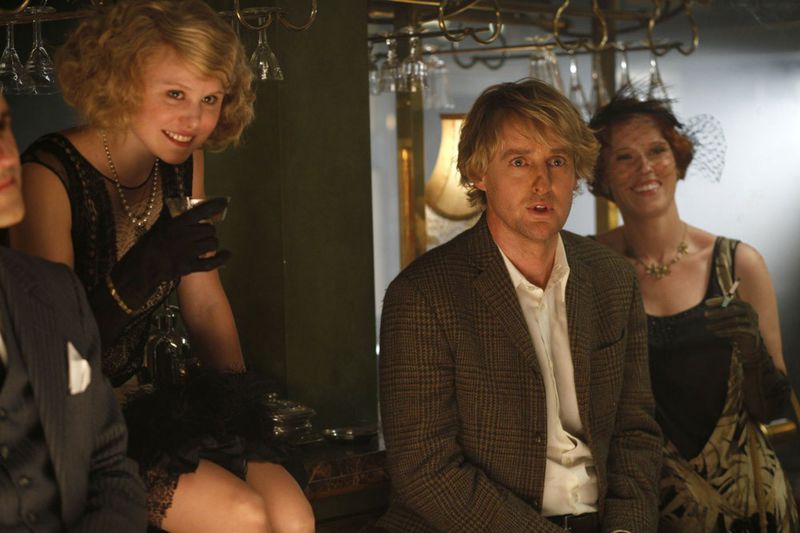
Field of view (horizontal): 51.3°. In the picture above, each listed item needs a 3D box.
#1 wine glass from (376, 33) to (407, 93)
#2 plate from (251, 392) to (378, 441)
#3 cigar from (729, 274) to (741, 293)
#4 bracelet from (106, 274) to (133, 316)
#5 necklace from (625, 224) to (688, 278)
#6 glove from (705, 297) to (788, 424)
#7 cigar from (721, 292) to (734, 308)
[{"bbox_3d":[-0.032,-0.801,3.366,0.171,0.215,0.167,4,16,-2],"label":"wine glass"},{"bbox_3d":[-0.359,0.527,2.852,0.268,0.079,0.242,0,-2,24],"label":"plate"},{"bbox_3d":[1.275,0.066,3.187,0.016,0.054,0.055,23,-18,0],"label":"cigar"},{"bbox_3d":[-0.870,0.085,2.607,0.025,0.109,0.101,-38,-31,-2],"label":"bracelet"},{"bbox_3d":[1.005,-0.048,3.209,0.156,0.184,0.057,-8,-23,29],"label":"necklace"},{"bbox_3d":[1.330,0.389,3.190,0.274,0.555,0.162,-7,16,28],"label":"glove"},{"bbox_3d":[1.239,0.128,3.164,0.022,0.065,0.020,25,-19,15],"label":"cigar"}]
